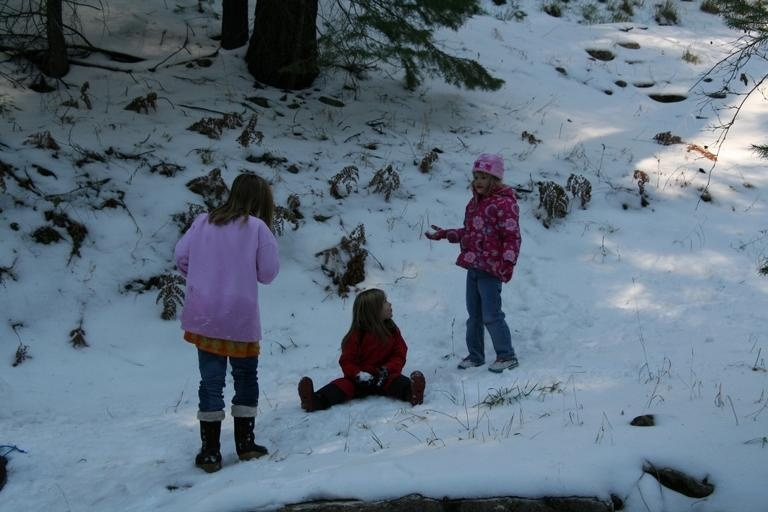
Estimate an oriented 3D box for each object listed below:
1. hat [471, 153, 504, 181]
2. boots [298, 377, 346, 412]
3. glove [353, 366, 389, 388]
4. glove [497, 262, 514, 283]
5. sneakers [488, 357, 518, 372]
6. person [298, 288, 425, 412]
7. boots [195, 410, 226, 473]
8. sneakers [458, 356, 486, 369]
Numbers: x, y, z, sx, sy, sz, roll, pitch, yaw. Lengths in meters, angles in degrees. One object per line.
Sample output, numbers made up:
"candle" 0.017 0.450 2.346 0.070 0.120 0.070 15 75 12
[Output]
"hat" 1.352 -1.153 9.183 0.308 0.233 0.315 15 -14 34
"boots" -0.706 1.560 8.542 0.539 0.398 0.195 -11 26 -24
"glove" -0.135 1.429 8.659 0.302 0.150 0.189 5 3 -13
"glove" 1.494 0.213 8.952 0.088 0.256 0.176 10 3 -35
"sneakers" 1.475 1.351 9.195 0.355 0.180 0.142 -6 3 -10
"person" -0.190 1.105 8.837 1.447 1.266 1.127 -4 2 12
"boots" -1.848 1.946 7.781 0.323 0.542 0.390 0 24 0
"sneakers" 1.078 1.342 9.303 0.360 0.176 0.133 1 -9 -9
